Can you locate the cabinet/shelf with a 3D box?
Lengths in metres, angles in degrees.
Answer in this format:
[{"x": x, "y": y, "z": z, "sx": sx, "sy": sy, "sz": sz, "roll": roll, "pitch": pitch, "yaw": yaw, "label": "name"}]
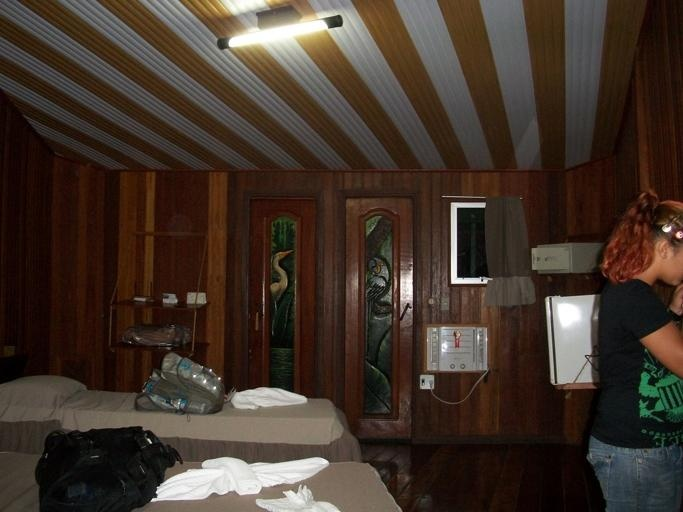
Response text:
[{"x": -1.763, "y": 0.640, "z": 5.058, "sx": 0.816, "sy": 1.068, "sz": 0.371, "roll": 23, "pitch": 2, "yaw": 6, "label": "cabinet/shelf"}]
